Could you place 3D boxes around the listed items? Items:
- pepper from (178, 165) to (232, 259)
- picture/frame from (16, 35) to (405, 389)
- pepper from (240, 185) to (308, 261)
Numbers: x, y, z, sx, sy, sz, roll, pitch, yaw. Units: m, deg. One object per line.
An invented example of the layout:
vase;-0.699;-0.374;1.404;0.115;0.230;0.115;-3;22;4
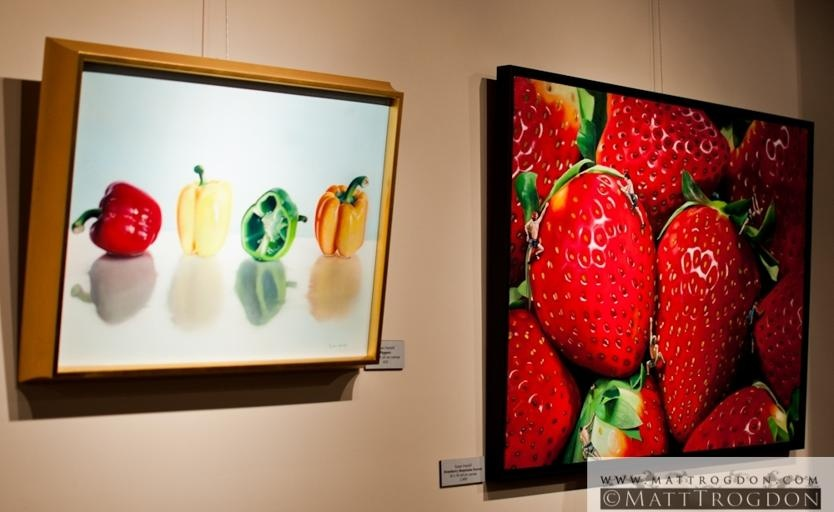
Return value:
pepper;-0.604;-0.128;1.851;0.144;0.255;0.152;1;7;-34
picture/frame;-0.609;-0.121;1.802;0.914;0.793;0.098;8;5;-18
pepper;-0.412;-0.102;1.870;0.146;0.198;0.091;36;-11;-22
